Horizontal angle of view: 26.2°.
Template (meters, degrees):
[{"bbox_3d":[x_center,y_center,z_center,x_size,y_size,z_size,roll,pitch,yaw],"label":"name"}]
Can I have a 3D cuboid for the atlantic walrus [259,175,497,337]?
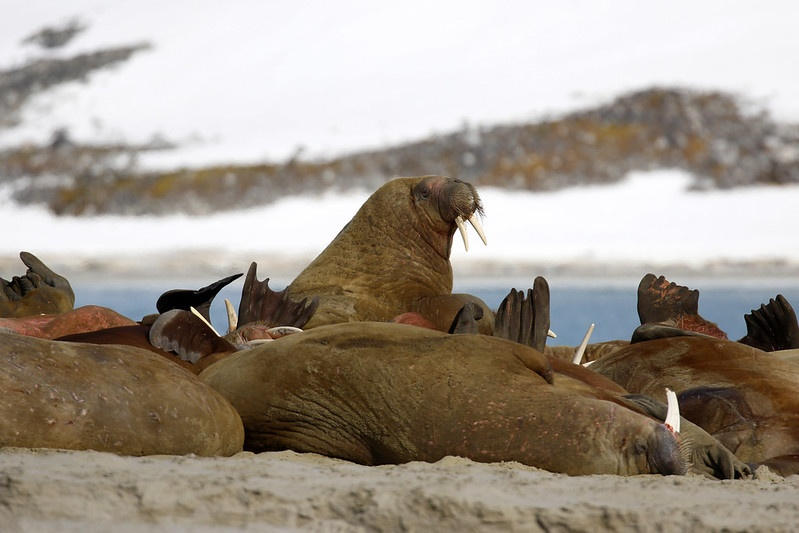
[{"bbox_3d":[-0.650,-0.045,22.099,3.286,1.889,1.958,-8,15,-22],"label":"atlantic walrus"}]
